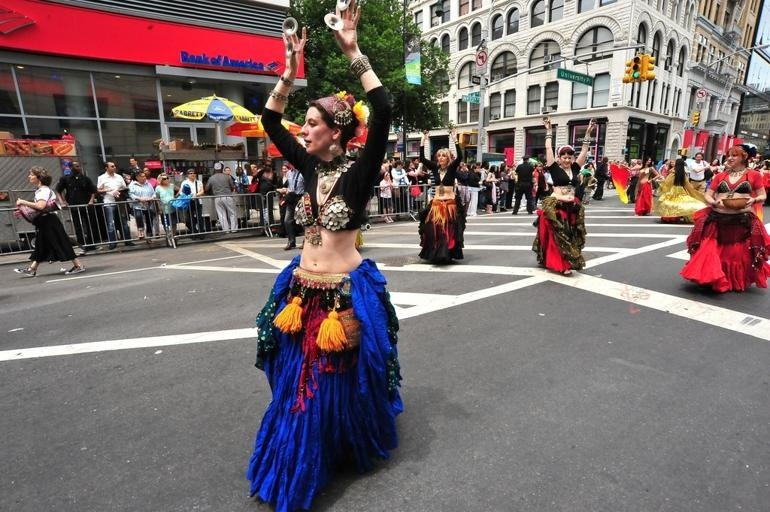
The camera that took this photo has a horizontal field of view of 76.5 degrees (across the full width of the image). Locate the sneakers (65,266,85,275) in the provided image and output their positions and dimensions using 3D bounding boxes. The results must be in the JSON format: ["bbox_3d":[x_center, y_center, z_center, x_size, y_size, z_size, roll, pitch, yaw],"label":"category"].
[{"bbox_3d":[-6.211,0.288,9.778,0.408,0.155,0.156,-1,2,-35],"label":"sneakers"}]

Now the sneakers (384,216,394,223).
[{"bbox_3d":[0.144,-1.180,15.888,0.167,0.101,0.282,-8,15,-11],"label":"sneakers"}]

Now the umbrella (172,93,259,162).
[{"bbox_3d":[-4.719,-4.048,14.728,2.395,1.094,2.372,11,16,31],"label":"umbrella"}]

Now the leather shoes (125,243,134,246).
[{"bbox_3d":[-6.555,-0.313,12.559,0.208,0.083,0.185,-7,13,-27],"label":"leather shoes"}]

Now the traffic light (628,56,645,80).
[{"bbox_3d":[8.912,-6.642,17.286,0.352,0.799,0.362,7,15,33],"label":"traffic light"}]

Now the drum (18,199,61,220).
[{"bbox_3d":[-6.637,-0.835,9.360,0.574,0.254,0.380,-12,3,-3],"label":"drum"}]

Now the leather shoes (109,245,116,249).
[{"bbox_3d":[-6.859,-0.226,12.310,0.096,0.051,0.142,6,17,-7],"label":"leather shoes"}]

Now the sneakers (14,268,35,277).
[{"bbox_3d":[-7.177,0.335,9.732,0.290,0.113,0.105,13,3,6],"label":"sneakers"}]

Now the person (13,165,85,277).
[{"bbox_3d":[-6.734,-0.678,9.615,1.008,2.108,1.145,-12,17,-41],"label":"person"}]

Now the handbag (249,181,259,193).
[{"bbox_3d":[-3.823,-1.996,14.221,0.132,0.332,0.276,13,-7,-39],"label":"handbag"}]

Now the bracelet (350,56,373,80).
[{"bbox_3d":[-0.225,-1.725,4.459,0.186,0.191,0.128,1,12,8],"label":"bracelet"}]
